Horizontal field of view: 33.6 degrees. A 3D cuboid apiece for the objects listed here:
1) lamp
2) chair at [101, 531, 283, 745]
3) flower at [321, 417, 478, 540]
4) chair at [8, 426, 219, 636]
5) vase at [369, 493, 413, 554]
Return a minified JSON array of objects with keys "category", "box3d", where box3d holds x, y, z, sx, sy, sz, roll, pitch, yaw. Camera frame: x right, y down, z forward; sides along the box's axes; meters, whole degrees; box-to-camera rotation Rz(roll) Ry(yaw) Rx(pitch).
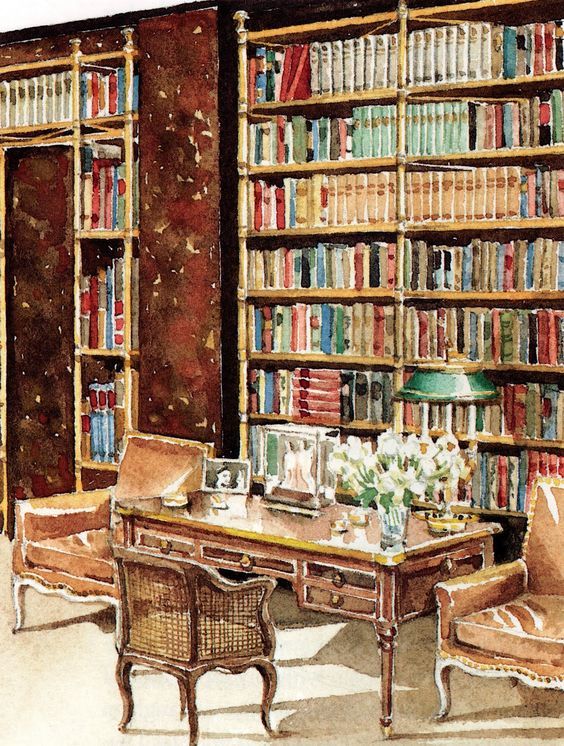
[{"category":"lamp","box3d":[0.732,0.287,4.188,0.560,0.782,0.566,-1,1,-43]},{"category":"chair","box3d":[-0.325,1.024,3.450,0.609,0.847,0.432,0,6,-1]},{"category":"flower","box3d":[0.490,0.407,3.849,0.474,0.469,0.502,-1,-1,14]},{"category":"chair","box3d":[-1.024,0.742,4.943,0.859,1.317,0.951,-1,-6,39]},{"category":"vase","box3d":[0.445,0.594,3.717,0.151,0.278,0.174,-1,-15,4]}]
